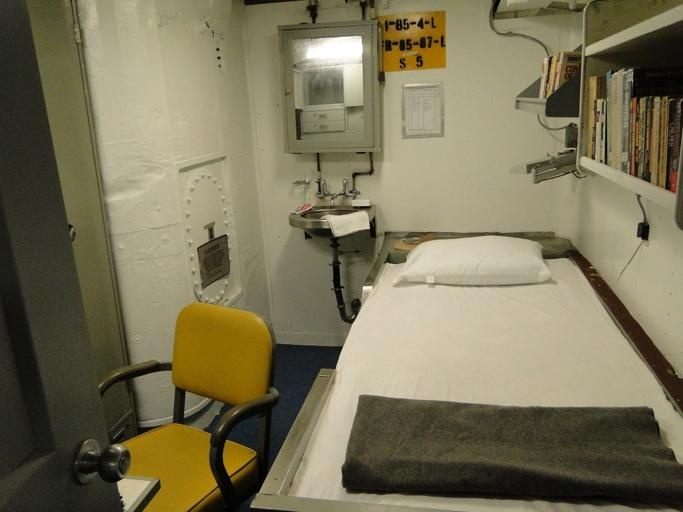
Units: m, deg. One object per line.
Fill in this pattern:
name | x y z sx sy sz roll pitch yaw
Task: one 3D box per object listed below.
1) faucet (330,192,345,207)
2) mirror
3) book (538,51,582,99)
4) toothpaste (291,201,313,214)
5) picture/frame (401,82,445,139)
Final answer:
faucet | -0.023 -0.402 3.581 0.104 0.091 0.071 -4 16 -2
mirror | -0.057 -1.116 3.262 0.782 1.020 0.348 0 13 6
book | 1.029 -0.850 2.354 0.160 0.190 0.522 3 18 21
toothpaste | -0.268 -0.339 3.544 0.091 0.040 0.129 1 13 28
picture/frame | 0.548 -0.982 3.361 0.281 0.342 0.016 6 33 19
